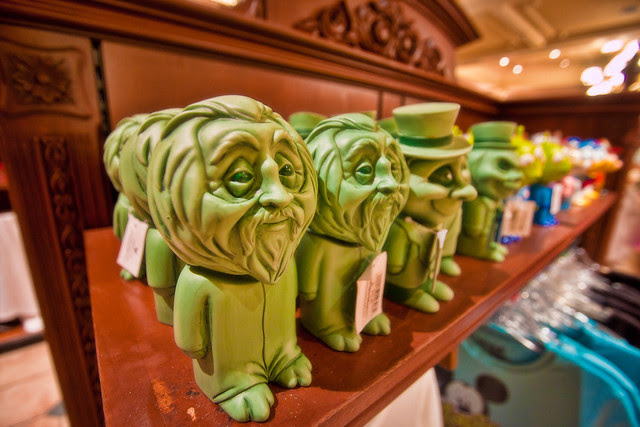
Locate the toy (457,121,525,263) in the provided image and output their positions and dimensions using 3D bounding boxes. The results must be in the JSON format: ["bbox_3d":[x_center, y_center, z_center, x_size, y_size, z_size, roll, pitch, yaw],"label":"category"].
[{"bbox_3d":[0.718,-0.082,1.897,0.263,0.554,0.283,5,-4,-11],"label":"toy"}]

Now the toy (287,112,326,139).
[{"bbox_3d":[-0.055,-0.301,1.523,0.100,0.049,0.102,-5,11,-26],"label":"toy"}]

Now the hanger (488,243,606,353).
[{"bbox_3d":[1.084,0.408,2.062,0.560,0.178,0.418,-16,20,-24],"label":"hanger"}]

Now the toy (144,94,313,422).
[{"bbox_3d":[-0.240,0.134,1.298,0.486,0.938,0.250,-3,13,-20],"label":"toy"}]
